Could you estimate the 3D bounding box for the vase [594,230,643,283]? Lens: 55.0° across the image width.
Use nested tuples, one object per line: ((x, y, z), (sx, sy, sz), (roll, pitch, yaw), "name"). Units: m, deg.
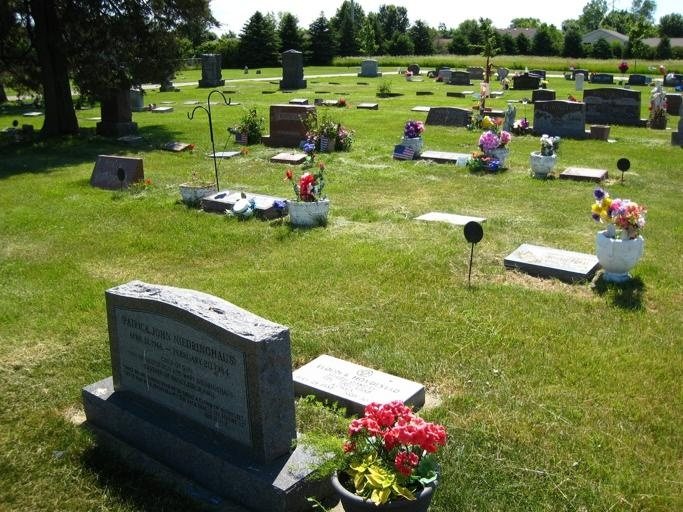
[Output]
((4.824, -0.002, 11.485), (0.680, 0.850, 0.741), (-7, 18, -5), "vase")
